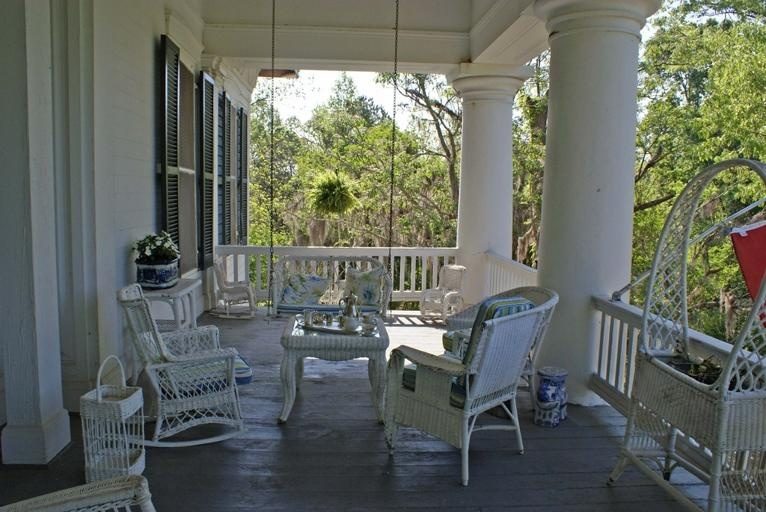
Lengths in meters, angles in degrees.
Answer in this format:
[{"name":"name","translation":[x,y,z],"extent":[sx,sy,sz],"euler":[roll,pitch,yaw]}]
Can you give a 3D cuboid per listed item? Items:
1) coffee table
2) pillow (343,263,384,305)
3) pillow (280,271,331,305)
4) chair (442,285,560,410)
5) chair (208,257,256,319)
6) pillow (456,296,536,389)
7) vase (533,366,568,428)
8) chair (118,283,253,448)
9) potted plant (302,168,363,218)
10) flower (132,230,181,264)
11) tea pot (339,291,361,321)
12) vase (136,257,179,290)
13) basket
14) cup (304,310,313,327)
[{"name":"coffee table","translation":[-0.403,0.983,5.260],"extent":[0.695,0.561,0.919],"euler":[2,-7,1]},{"name":"pillow","translation":[-0.196,0.310,6.544],"extent":[0.413,0.449,0.163],"euler":[2,-3,3]},{"name":"pillow","translation":[-0.840,0.367,6.730],"extent":[0.521,0.334,0.445],"euler":[-2,6,-10]},{"name":"chair","translation":[1.020,0.654,5.232],"extent":[0.986,1.208,1.035],"euler":[2,-3,-4]},{"name":"chair","translation":[-1.917,0.394,7.945],"extent":[0.709,0.933,0.674],"euler":[1,6,-8]},{"name":"pillow","translation":[0.811,0.635,4.514],"extent":[0.568,0.642,0.284],"euler":[-6,8,-40]},{"name":"vase","translation":[1.424,1.206,5.252],"extent":[0.279,0.435,0.428],"euler":[-1,-4,28]},{"name":"chair","translation":[-1.553,0.805,5.400],"extent":[1.148,1.554,1.051],"euler":[-2,5,-17]},{"name":"potted plant","translation":[-0.883,-1.030,10.837],"extent":[0.794,0.795,0.826],"euler":[1,-5,2]},{"name":"flower","translation":[-2.165,-0.059,5.865],"extent":[0.326,0.238,0.334],"euler":[1,10,32]},{"name":"tea pot","translation":[-0.286,0.445,5.399],"extent":[0.216,0.318,0.195],"euler":[-1,1,-6]},{"name":"vase","translation":[-2.126,0.161,5.819],"extent":[0.291,0.201,0.302],"euler":[0,3,-10]},{"name":"basket","translation":[-1.889,1.104,4.403],"extent":[0.488,0.894,0.482],"euler":[5,9,43]},{"name":"cup","translation":[-0.640,0.549,5.368],"extent":[0.101,0.171,0.104],"euler":[0,-4,0]}]
